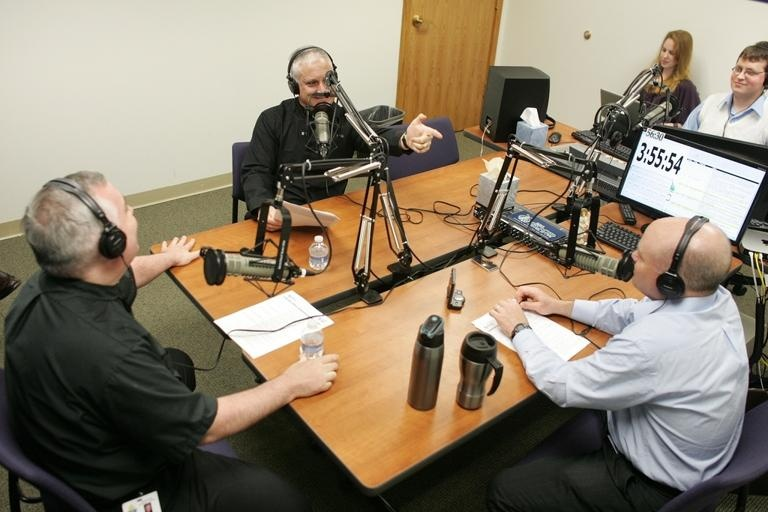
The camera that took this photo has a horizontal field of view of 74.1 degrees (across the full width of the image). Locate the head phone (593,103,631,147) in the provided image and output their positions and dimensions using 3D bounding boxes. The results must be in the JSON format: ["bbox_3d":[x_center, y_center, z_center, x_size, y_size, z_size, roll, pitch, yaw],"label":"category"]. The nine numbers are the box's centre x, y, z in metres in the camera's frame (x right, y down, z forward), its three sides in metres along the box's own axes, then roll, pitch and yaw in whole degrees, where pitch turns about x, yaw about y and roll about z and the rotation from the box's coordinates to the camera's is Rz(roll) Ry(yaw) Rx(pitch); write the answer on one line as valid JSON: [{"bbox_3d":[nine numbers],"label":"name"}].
[{"bbox_3d":[1.213,-0.720,2.791,0.142,0.172,0.180,27,20,24],"label":"head phone"}]

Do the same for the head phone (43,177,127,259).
[{"bbox_3d":[-1.055,-0.135,1.847,0.285,0.271,0.125,19,34,27],"label":"head phone"}]

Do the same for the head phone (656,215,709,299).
[{"bbox_3d":[1.169,0.007,1.996,0.102,0.298,0.190,23,36,34],"label":"head phone"}]

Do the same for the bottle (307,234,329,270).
[{"bbox_3d":[-0.337,-0.015,2.595,0.131,0.218,0.134,1,32,-1],"label":"bottle"}]

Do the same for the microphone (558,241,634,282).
[{"bbox_3d":[0.957,0.028,2.302,0.124,0.120,0.311,26,-7,-41],"label":"microphone"}]

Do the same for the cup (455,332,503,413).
[{"bbox_3d":[0.366,0.461,1.968,0.134,0.280,0.176,-18,37,-32],"label":"cup"}]

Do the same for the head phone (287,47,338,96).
[{"bbox_3d":[-0.445,-1.062,2.931,0.277,0.251,0.100,-7,-3,13],"label":"head phone"}]

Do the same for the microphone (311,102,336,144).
[{"bbox_3d":[-0.287,-0.619,2.389,0.073,0.172,0.272,-2,30,-6],"label":"microphone"}]

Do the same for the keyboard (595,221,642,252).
[{"bbox_3d":[1.321,-0.107,2.887,0.275,0.046,0.192,-25,44,-36],"label":"keyboard"}]

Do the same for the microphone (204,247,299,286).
[{"bbox_3d":[-0.522,0.085,2.154,0.426,0.156,0.158,9,64,-32],"label":"microphone"}]

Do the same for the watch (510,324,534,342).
[{"bbox_3d":[0.607,0.318,2.266,0.080,0.087,0.056,27,31,-31],"label":"watch"}]

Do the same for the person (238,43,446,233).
[{"bbox_3d":[-0.509,-0.800,3.409,1.148,1.360,1.250,-14,38,-22],"label":"person"}]

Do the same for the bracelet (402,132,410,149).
[{"bbox_3d":[0.120,-0.709,3.130,0.059,0.088,0.068,3,-11,14],"label":"bracelet"}]
